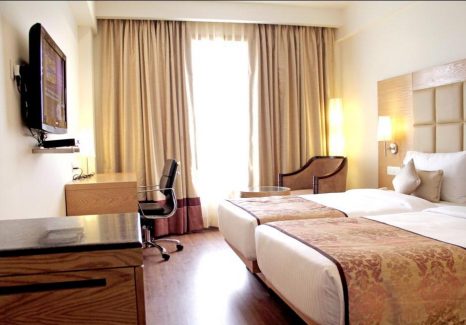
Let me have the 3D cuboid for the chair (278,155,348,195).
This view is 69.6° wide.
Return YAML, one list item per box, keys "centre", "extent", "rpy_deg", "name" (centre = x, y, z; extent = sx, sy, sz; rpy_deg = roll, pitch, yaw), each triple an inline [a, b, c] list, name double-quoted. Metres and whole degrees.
- centre: [1.331, 0.206, 5.300]
  extent: [0.806, 0.984, 0.693]
  rpy_deg: [1, 0, -33]
  name: "chair"

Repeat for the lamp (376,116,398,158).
- centre: [2.122, -0.370, 4.706]
  extent: [0.251, 0.577, 0.341]
  rpy_deg: [-3, 7, -4]
  name: "lamp"
